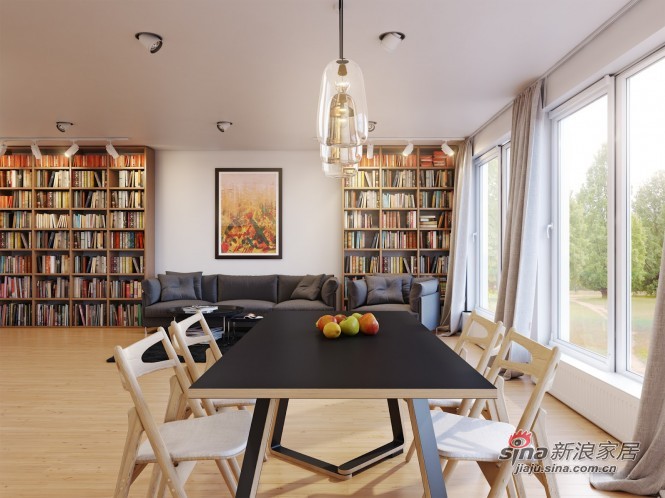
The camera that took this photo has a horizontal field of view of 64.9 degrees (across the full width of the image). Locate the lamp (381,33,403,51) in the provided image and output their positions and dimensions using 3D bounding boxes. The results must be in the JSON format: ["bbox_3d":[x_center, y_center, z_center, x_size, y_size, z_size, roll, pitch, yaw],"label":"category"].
[{"bbox_3d":[0.547,-1.908,4.831,0.244,0.139,0.240,-2,11,-9],"label":"lamp"}]

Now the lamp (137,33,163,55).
[{"bbox_3d":[-1.715,-1.920,4.885,0.239,0.144,0.257,-4,11,-19],"label":"lamp"}]

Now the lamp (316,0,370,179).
[{"bbox_3d":[0.085,-1.201,3.838,0.343,1.347,0.827,0,11,4],"label":"lamp"}]

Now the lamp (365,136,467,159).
[{"bbox_3d":[1.279,-1.577,8.141,1.477,0.301,0.934,0,10,6],"label":"lamp"}]

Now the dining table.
[{"bbox_3d":[0.046,1.165,3.489,1.581,1.150,1.286,-1,11,1],"label":"dining table"}]

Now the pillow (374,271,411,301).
[{"bbox_3d":[1.017,0.526,7.888,0.422,0.440,0.165,1,-26,-3],"label":"pillow"}]

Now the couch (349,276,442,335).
[{"bbox_3d":[0.914,0.682,7.723,1.158,0.974,0.847,-1,-10,17],"label":"couch"}]

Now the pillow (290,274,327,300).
[{"bbox_3d":[-0.390,0.597,8.143,0.490,0.344,0.426,2,11,15],"label":"pillow"}]

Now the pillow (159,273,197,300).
[{"bbox_3d":[-2.401,0.596,8.158,0.566,0.377,0.367,-4,11,-18],"label":"pillow"}]
